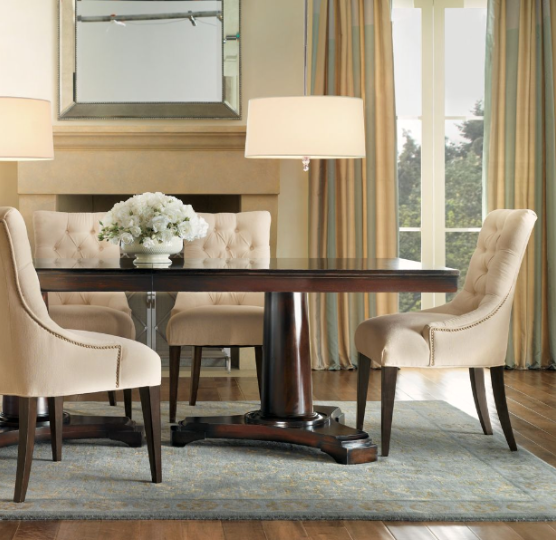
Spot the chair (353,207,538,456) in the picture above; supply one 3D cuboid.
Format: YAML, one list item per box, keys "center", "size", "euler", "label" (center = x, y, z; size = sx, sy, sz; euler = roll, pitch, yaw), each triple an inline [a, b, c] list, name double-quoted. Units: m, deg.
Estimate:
- center: [0.507, 0.275, 3.014]
  size: [1.027, 1.242, 0.860]
  euler: [2, -3, -1]
  label: "chair"

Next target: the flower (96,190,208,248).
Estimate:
- center: [-0.525, -0.209, 2.715]
  size: [0.545, 0.229, 0.504]
  euler: [0, -1, -14]
  label: "flower"
